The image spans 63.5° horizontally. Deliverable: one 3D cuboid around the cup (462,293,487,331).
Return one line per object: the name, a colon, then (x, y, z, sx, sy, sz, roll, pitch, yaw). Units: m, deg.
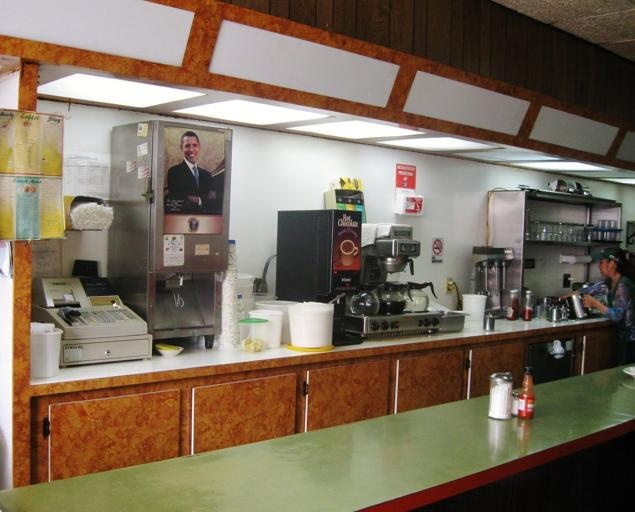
cup: (1.533, 0.545, 5.033, 0.322, 0.335, 0.310, -1, 0, 0)

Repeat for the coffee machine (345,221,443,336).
coffee machine: (0.586, 0.182, 4.280, 0.817, 0.838, 0.677, 3, 2, -25)

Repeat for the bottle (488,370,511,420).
bottle: (0.874, 0.664, 2.442, 0.100, 0.209, 0.069, 4, 3, 21)

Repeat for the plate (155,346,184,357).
plate: (-0.922, 0.579, 3.187, 0.098, 0.035, 0.085, 2, -2, 7)

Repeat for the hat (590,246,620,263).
hat: (3.283, -0.019, 5.846, 0.321, 0.152, 0.202, 4, 5, 30)

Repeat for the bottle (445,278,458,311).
bottle: (1.459, 0.401, 5.517, 0.195, 0.338, 0.060, 2, 3, -28)

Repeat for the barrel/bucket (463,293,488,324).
barrel/bucket: (1.550, 0.508, 5.079, 0.298, 0.287, 0.326, 0, -2, 0)

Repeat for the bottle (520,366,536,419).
bottle: (1.015, 0.644, 2.482, 0.074, 0.158, 0.154, 5, 4, 24)

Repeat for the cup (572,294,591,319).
cup: (2.800, 0.530, 5.493, 0.197, 0.188, 0.122, 1, 4, -35)

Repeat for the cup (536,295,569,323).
cup: (2.566, 0.560, 5.556, 0.357, 0.298, 0.204, -1, 3, 5)
